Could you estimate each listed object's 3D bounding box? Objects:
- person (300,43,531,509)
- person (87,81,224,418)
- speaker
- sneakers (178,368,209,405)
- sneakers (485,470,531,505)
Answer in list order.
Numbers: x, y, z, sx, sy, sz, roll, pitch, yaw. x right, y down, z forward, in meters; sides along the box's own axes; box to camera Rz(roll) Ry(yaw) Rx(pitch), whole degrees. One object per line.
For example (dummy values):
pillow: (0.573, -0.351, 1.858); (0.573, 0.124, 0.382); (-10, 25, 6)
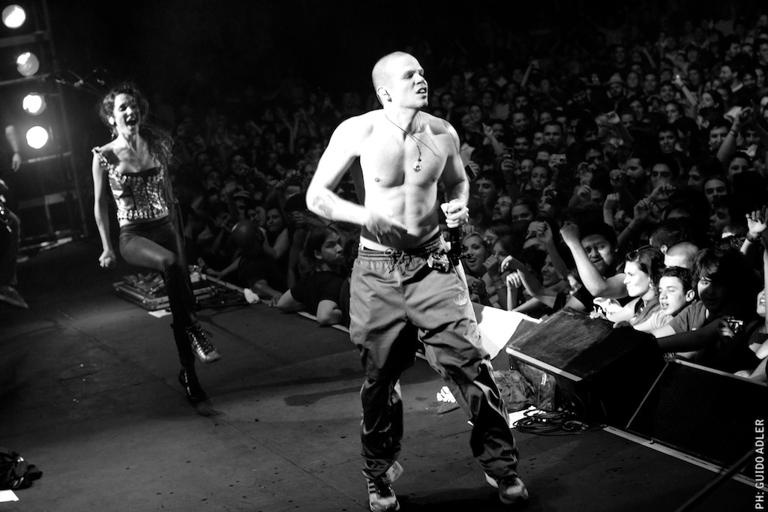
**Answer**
person: (0.191, 0.143, 2.917); (0.927, 2.257, 0.935); (-7, 17, -22)
person: (-1.834, -0.192, 4.538); (0.761, 2.254, 1.579); (-9, 18, -25)
speaker: (1.272, 0.662, 3.756); (0.648, 0.534, 0.866); (1, 2, -14)
sneakers: (-1.409, 0.927, 4.271); (0.157, 0.235, 0.321); (-10, 18, -29)
sneakers: (0.627, 1.173, 2.940); (0.122, 0.100, 0.241); (-5, -11, -18)
